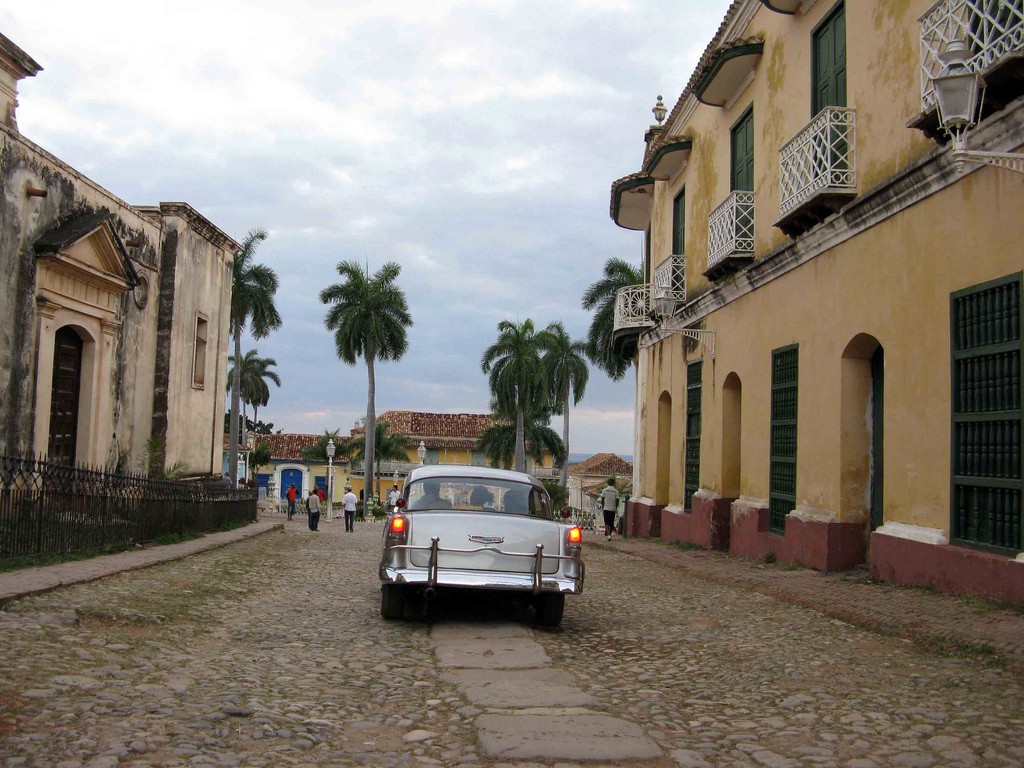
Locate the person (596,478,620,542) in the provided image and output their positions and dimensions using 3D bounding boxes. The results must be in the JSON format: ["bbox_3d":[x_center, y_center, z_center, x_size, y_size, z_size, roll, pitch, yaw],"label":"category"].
[{"bbox_3d":[2.612,3.249,24.543,0.590,1.569,0.625,7,20,18],"label":"person"}]

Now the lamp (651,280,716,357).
[{"bbox_3d":[3.979,-1.474,21.561,0.447,1.171,2.215,3,4,-17],"label":"lamp"}]
